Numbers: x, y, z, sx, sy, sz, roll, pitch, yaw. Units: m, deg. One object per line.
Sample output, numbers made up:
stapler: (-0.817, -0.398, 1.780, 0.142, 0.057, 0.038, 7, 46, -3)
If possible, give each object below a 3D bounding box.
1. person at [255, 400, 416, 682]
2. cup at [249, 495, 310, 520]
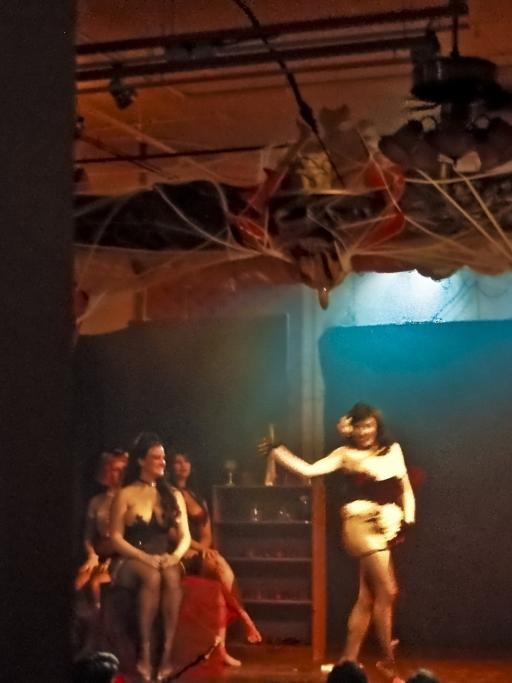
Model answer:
person: (0.556, 1.029, 4.373, 0.707, 1.284, 1.007, -3, 6, -18)
cup: (0.166, 1.005, 4.782, 0.381, 0.154, 0.165, -1, -12, 12)
